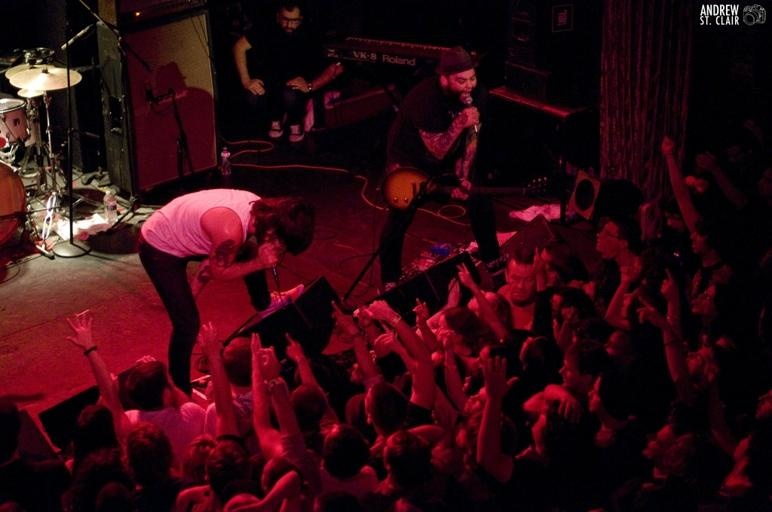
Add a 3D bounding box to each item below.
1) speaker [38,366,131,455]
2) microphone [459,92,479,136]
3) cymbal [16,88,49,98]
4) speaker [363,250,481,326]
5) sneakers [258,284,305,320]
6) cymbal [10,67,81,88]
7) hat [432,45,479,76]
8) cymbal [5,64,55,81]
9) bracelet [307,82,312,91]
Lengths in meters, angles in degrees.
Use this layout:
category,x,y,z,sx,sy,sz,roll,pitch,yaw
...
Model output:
category,x,y,z,sx,sy,sz,roll,pitch,yaw
speaker,-1.814,0.942,3.533,0.448,0.295,0.242,-41,9,-25
microphone,0.727,-1.256,5.183,0.168,0.349,0.079,0,-4,-44
cymbal,-3.828,-1.755,6.332,0.190,0.048,0.189,-13,34,-29
speaker,0.328,0.237,4.758,0.888,0.483,0.595,-30,-22,-2
sneakers,-0.700,0.317,4.136,0.171,0.070,0.267,1,20,39
cymbal,-3.539,-1.851,6.070,0.474,0.112,0.473,5,45,-2
hat,0.616,-1.686,5.093,0.305,0.114,0.283,-1,23,27
cymbal,-3.787,-1.923,6.206,0.307,0.071,0.306,-32,47,-33
bracelet,-1.004,-2.240,7.807,0.072,0.099,0.088,-6,7,-5
